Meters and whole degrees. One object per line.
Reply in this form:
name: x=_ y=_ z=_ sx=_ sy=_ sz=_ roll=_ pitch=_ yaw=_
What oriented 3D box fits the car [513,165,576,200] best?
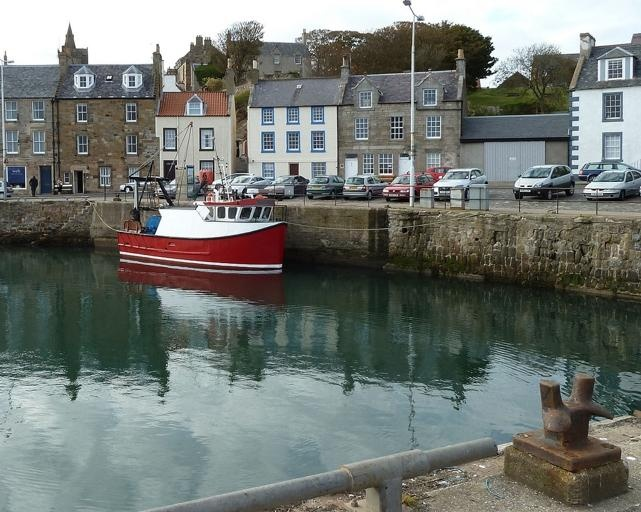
car: x=9.306 y=-3.150 z=33.846 sx=1.795 sy=1.239 sz=2.933 roll=2 pitch=5 yaw=40
